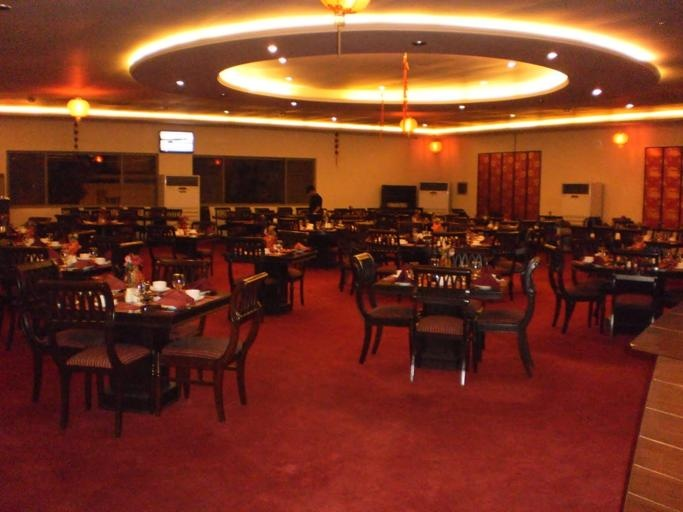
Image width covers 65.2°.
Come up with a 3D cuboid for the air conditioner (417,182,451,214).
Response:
[{"bbox_3d":[3.111,-1.911,17.590,1.408,1.363,0.946,2,4,18],"label":"air conditioner"}]

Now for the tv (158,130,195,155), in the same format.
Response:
[{"bbox_3d":[-4.567,-3.155,14.630,0.748,0.484,0.099,-1,10,-18],"label":"tv"}]

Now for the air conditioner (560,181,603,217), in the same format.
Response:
[{"bbox_3d":[6.656,-1.547,14.646,0.729,0.980,1.007,-6,9,-23],"label":"air conditioner"}]
